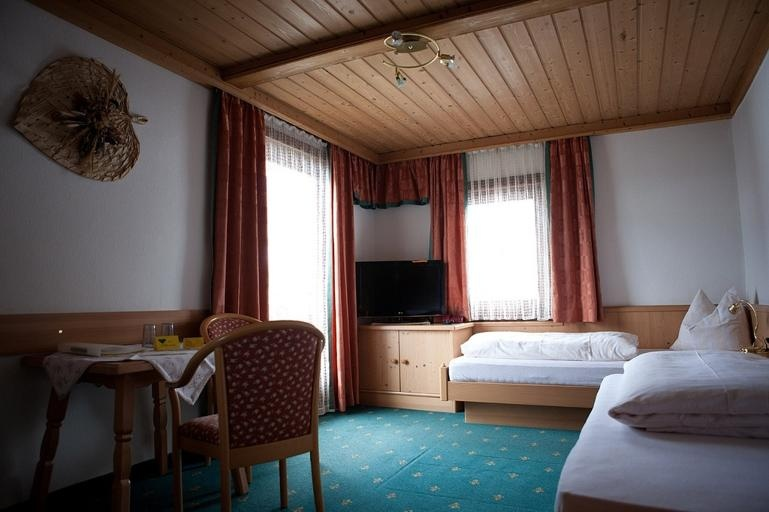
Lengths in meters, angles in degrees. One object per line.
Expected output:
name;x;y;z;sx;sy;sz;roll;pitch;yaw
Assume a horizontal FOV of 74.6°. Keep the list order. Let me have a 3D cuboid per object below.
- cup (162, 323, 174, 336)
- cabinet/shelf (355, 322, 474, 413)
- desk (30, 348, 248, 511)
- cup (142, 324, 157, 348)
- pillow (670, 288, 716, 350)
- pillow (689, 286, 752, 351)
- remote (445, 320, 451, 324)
cup;-1.581;0.533;3.646;0.089;0.084;0.089;-1;-2;0
cabinet/shelf;0.352;1.249;5.834;1.224;0.922;0.709;-5;-6;32
desk;-1.624;1.038;3.641;1.034;1.214;1.319;-5;-12;23
cup;-1.650;0.558;3.541;0.093;0.145;0.111;-1;2;-26
pillow;2.995;0.620;4.909;0.158;0.534;0.500;15;-25;39
pillow;3.095;0.596;4.630;0.613;0.541;0.374;-12;-7;-28
remote;0.723;0.756;5.780;0.023;0.041;0.044;1;0;35
